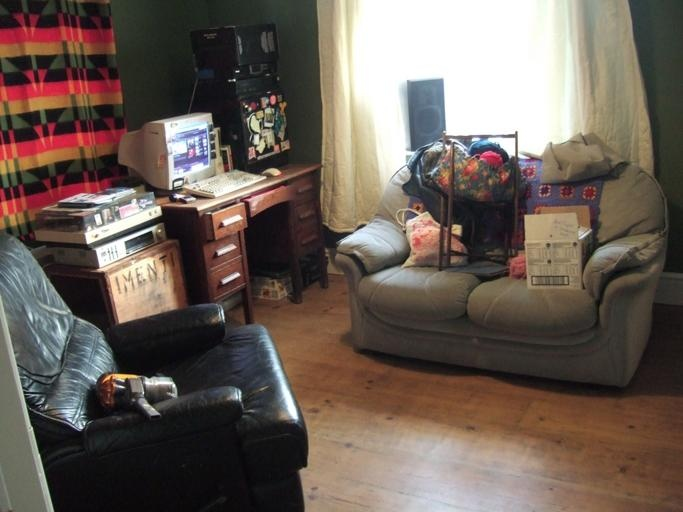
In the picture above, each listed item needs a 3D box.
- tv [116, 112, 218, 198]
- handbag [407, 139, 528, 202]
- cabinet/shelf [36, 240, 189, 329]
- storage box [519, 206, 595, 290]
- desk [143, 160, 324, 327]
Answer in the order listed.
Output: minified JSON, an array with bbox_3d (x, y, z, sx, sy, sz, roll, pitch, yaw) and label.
[{"bbox_3d":[-1.149,-0.737,3.829,0.497,0.485,0.667,13,21,13],"label":"tv"},{"bbox_3d":[0.783,-0.529,3.669,0.559,0.236,0.414,13,13,22],"label":"handbag"},{"bbox_3d":[-1.329,0.156,3.431,0.434,0.552,0.618,17,34,25],"label":"cabinet/shelf"},{"bbox_3d":[1.222,-0.034,3.263,0.297,0.471,0.462,2,15,19],"label":"storage box"},{"bbox_3d":[-0.659,-0.078,4.162,0.492,0.896,1.356,6,20,29],"label":"desk"}]
